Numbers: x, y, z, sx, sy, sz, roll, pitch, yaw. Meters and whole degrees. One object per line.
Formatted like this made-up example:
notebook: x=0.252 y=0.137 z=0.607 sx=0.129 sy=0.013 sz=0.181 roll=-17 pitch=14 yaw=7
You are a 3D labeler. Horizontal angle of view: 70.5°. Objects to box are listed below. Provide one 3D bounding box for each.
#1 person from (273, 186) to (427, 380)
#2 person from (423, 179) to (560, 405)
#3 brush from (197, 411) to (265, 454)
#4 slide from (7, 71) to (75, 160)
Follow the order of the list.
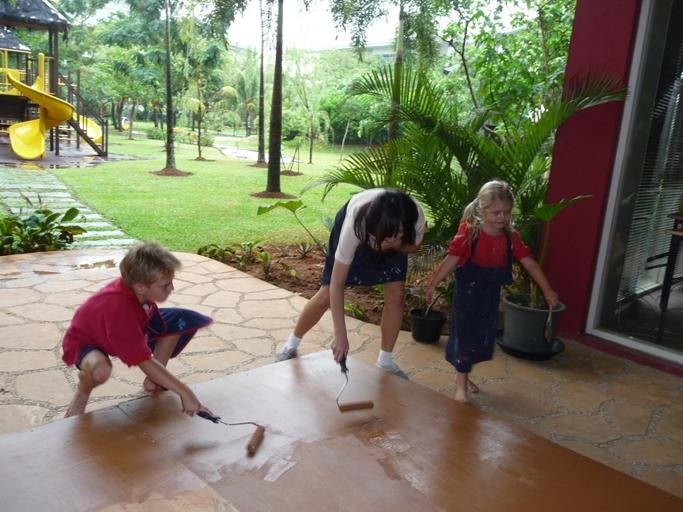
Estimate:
person: x=0.098 y=0.213 z=2.906 sx=0.777 sy=1.280 sz=0.967 roll=0 pitch=15 yaw=-13
person: x=0.958 y=0.240 z=3.488 sx=0.826 sy=1.513 sz=0.668 roll=6 pitch=15 yaw=7
brush: x=-0.449 y=0.717 z=1.977 sx=0.233 sy=0.063 sz=0.127 roll=8 pitch=19 yaw=10
slide: x=-9.428 y=-4.175 z=14.848 sx=1.361 sy=2.302 sz=1.901 roll=6 pitch=15 yaw=9
